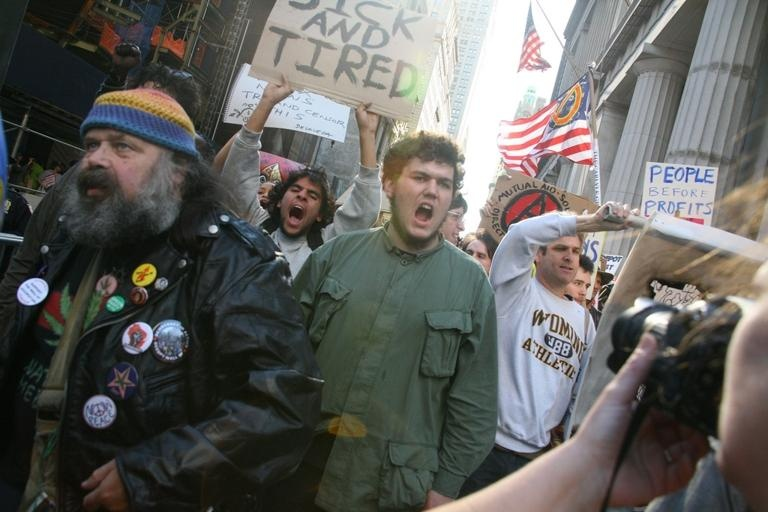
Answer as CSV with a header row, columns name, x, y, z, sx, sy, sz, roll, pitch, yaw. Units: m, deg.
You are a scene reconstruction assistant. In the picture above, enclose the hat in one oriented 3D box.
name,x,y,z,sx,sy,sz,roll,pitch,yaw
hat,-1.222,-0.605,2.859,0.366,0.264,0.392,17,-7,13
